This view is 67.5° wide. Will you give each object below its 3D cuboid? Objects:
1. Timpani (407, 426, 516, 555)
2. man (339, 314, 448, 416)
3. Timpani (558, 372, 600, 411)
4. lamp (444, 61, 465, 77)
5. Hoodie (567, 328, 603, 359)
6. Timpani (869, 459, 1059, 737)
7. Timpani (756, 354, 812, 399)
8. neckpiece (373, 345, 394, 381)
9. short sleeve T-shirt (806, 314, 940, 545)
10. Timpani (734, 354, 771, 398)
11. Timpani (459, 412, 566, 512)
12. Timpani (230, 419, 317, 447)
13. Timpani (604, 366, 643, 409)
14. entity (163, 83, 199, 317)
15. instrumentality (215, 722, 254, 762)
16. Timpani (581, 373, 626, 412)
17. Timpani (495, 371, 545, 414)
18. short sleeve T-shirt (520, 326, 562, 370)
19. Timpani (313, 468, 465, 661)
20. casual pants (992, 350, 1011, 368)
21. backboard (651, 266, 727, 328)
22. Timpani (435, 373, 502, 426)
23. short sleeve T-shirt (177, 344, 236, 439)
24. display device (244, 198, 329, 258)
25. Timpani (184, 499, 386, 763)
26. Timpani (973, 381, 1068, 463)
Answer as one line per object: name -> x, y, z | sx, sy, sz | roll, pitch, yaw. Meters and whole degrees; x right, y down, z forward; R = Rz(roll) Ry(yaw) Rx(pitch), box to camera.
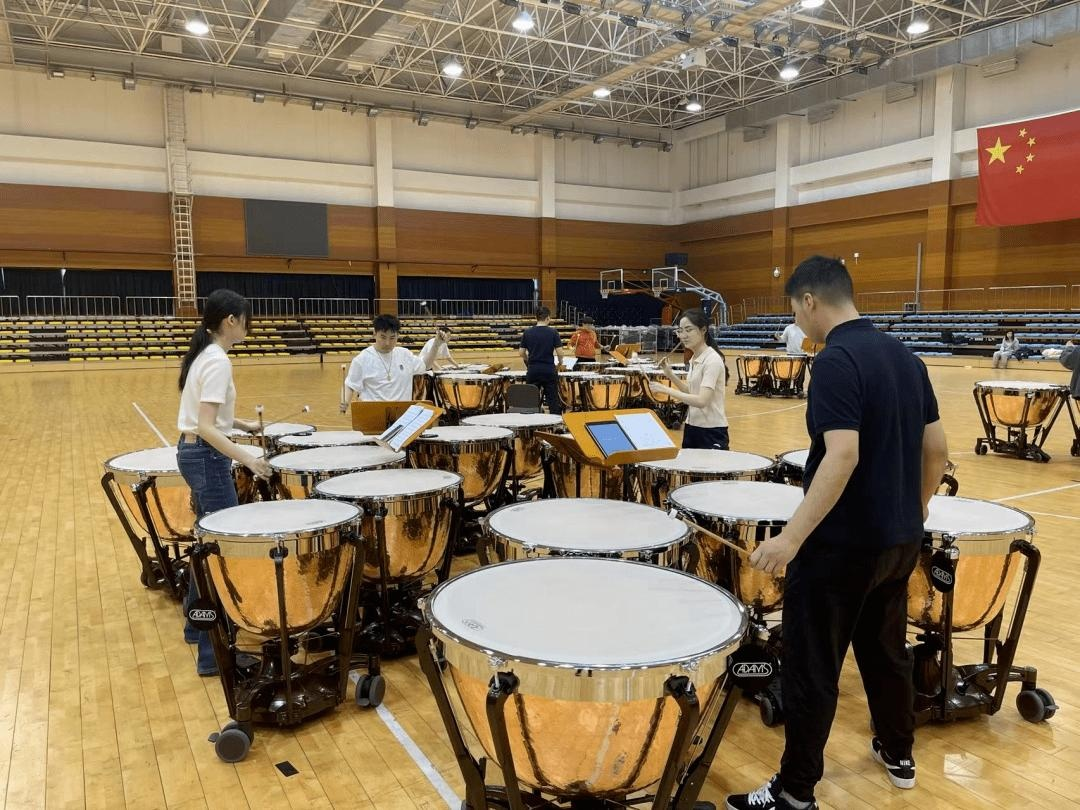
Timpani -> -0.434, 0.548, 5.380 | 0.905, 0.792, 0.801 | -1, 5, -6
man -> -1.172, -0.285, 6.113 | 0.686, 0.803, 2.101 | -4, 10, -11
Timpani -> 0.458, -0.183, 10.137 | 0.530, 0.363, 0.514 | 4, 8, 27
lamp -> -2.318, -8.947, 21.372 | 0.479, 0.363, 0.673 | -3, 10, -5
Hoodie -> 0.705, -0.941, 12.333 | 0.327, 0.492, 0.558 | -3, 10, -2
Timpani -> 1.944, 0.924, 3.837 | 0.875, 0.872, 1.004 | -1, 4, 37
Timpani -> 4.396, -0.506, 14.512 | 0.833, 0.654, 0.831 | 1, 1, 1
neckpiece -> -1.133, -0.308, 5.907 | 0.177, 0.213, 0.057 | 1, 0, -22
short sleeve T-shirt -> 1.237, 0.099, 3.023 | 0.485, 0.832, 0.345 | -1, 11, 7
Timpani -> 3.941, -0.537, 14.945 | 0.768, 0.729, 0.723 | -1, 4, -2
Timpani -> -0.218, 0.388, 5.748 | 0.723, 0.605, 0.692 | 0, 1, -9
Timpani -> -1.739, 0.184, 5.285 | 0.383, 0.120, 0.360 | 1, 4, -2
Timpani -> 1.173, -0.217, 10.109 | 0.644, 0.567, 0.606 | 0, 3, -6
entity -> -10.065, -5.597, 22.595 | 0.945, 6.176, 0.553 | -5, 12, -13
instrumentality -> -1.323, 1.468, 3.557 | 0.175, 0.147, 0.175 | 8, -2, -7
Timpani -> 0.767, -0.164, 9.871 | 0.576, 0.383, 0.539 | 0, 0, 3
Timpani -> -0.160, -0.131, 8.165 | 0.492, 0.543, 0.495 | 0, 1, -17
short sleeve T-shirt -> -0.005, -0.659, 9.270 | 0.441, 0.510, 0.364 | -2, 11, 0
Timpani -> -0.776, 0.807, 4.238 | 0.637, 0.578, 0.617 | -5, -12, 12
casual pants -> 10.046, -0.983, 17.529 | 0.345, 0.372, 0.387 | 4, 12, 28
backboard -> 5.361, -3.770, 28.173 | 2.620, 1.801, 1.319 | 2, 14, -11
Timpani -> -0.772, -0.051, 8.523 | 0.630, 0.426, 0.590 | 0, 1, -2
short sleeve T-shirt -> -1.651, -0.050, 3.975 | 0.268, 0.483, 0.312 | -7, 12, -22
display device -> -7.521, -5.223, 23.889 | 2.361, 1.606, 0.205 | -7, 13, -27
Timpani -> -1.221, 0.962, 4.103 | 1.145, 1.126, 1.033 | -1, 8, -24
Timpani -> 4.937, 0.211, 8.408 | 0.762, 0.540, 0.682 | 8, -5, 9
